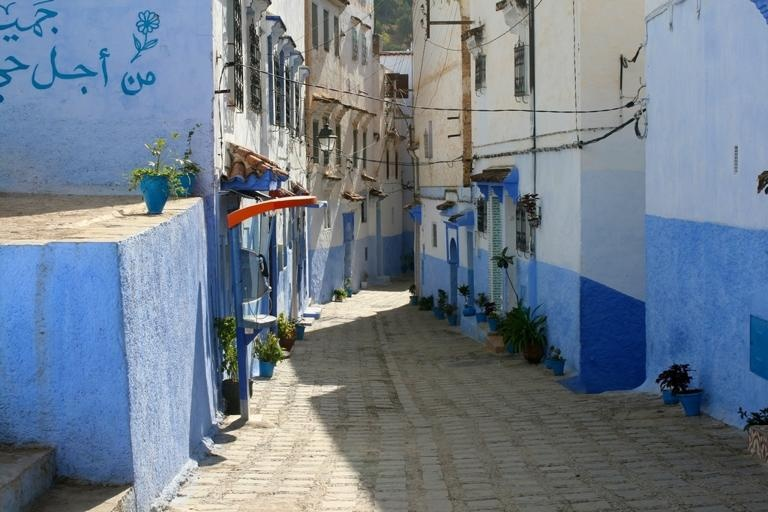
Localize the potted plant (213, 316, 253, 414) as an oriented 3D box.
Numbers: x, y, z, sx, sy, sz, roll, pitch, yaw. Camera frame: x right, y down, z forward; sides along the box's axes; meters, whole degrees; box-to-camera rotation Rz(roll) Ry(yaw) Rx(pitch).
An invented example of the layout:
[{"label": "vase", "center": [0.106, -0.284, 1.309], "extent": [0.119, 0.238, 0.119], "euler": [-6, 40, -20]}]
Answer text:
[{"label": "potted plant", "center": [-2.571, 1.779, 14.833], "extent": [0.369, 1.618, 0.545], "euler": [-1, 5, -10]}]

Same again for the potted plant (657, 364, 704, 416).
[{"label": "potted plant", "center": [4.639, 2.071, 14.127], "extent": [0.478, 0.752, 0.574], "euler": [-2, 5, -18]}]
